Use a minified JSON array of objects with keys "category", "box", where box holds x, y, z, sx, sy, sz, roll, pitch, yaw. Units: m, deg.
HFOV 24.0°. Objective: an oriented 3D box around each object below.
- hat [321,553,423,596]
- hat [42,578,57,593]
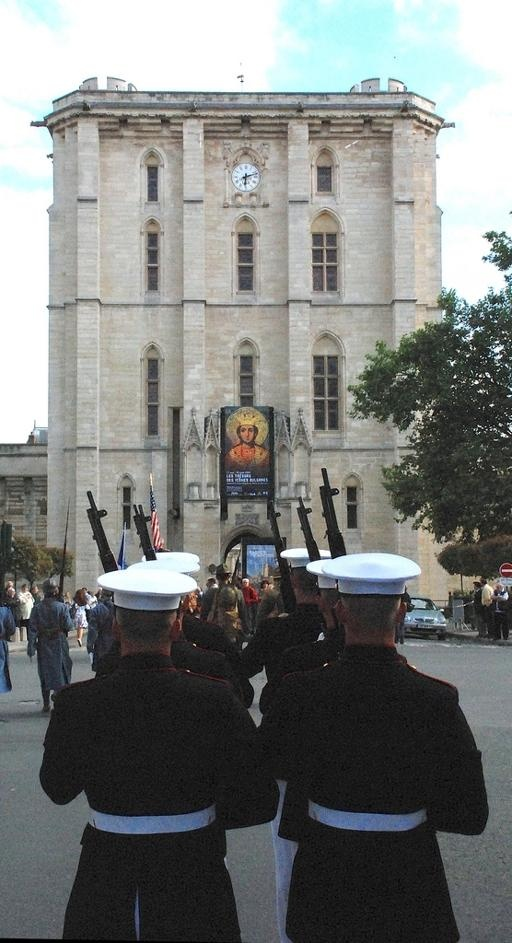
[{"category":"hat","box":[0.321,0.301,3.415,0.268,0.113,0.219,-4,-3,3]},{"category":"hat","box":[-2.261,1.265,13.211,0.138,0.115,0.205,-1,32,-13]}]
